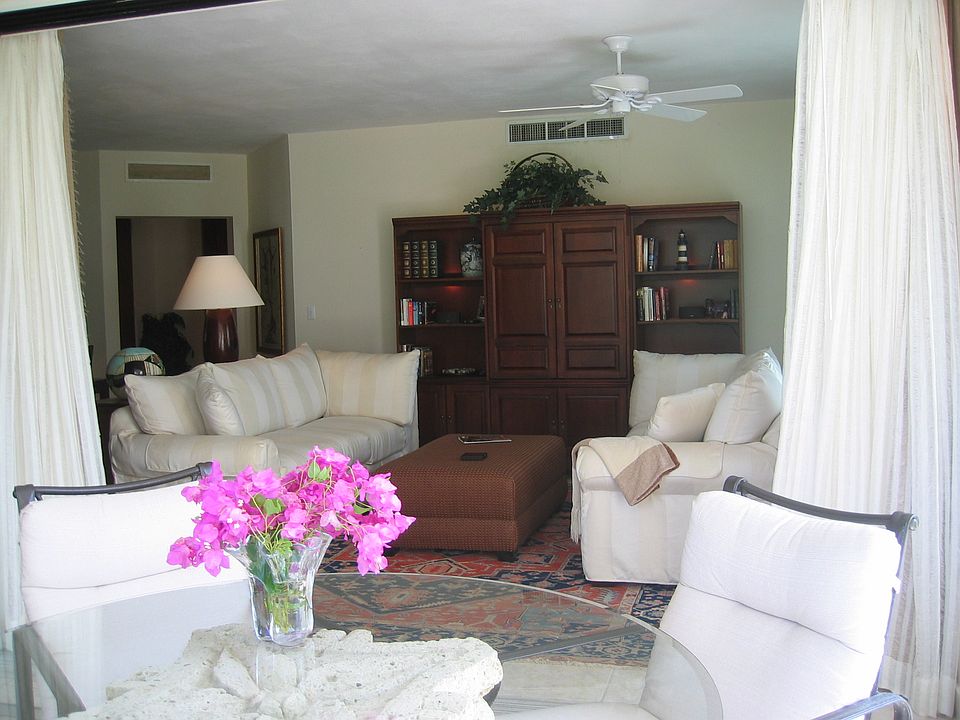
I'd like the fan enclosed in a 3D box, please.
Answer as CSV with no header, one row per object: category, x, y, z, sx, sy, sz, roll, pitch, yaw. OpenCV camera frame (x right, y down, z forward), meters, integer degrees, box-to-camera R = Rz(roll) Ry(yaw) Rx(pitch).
fan,0.912,-1.780,4.496,1.256,0.438,1.309,-5,30,7

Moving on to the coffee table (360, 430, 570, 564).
coffee table,-0.047,0.653,4.328,0.654,0.373,1.024,0,4,16

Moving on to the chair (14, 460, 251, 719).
chair,-0.960,0.540,2.004,0.489,0.673,0.606,-5,0,-35

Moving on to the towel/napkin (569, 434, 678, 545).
towel/napkin,0.801,0.661,3.710,0.512,0.500,0.156,-1,-16,25

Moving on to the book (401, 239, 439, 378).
book,-0.556,-0.506,6.788,0.361,1.287,0.315,0,2,4

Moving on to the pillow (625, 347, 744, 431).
pillow,1.378,0.201,4.884,0.683,0.454,0.240,0,-18,32

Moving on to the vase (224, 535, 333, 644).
vase,-0.450,0.487,1.646,0.238,0.227,0.243,1,-3,-24

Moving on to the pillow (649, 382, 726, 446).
pillow,1.202,0.318,4.094,0.285,0.197,0.097,-13,32,-27

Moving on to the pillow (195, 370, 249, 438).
pillow,-1.618,0.270,4.491,0.112,0.368,0.376,-14,-1,9

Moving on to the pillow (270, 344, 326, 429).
pillow,-1.442,0.241,5.744,0.217,0.456,0.620,-3,8,18

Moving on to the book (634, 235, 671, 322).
book,1.523,-0.698,6.283,0.263,0.742,0.383,1,2,20

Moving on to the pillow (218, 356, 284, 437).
pillow,-1.581,0.278,4.979,0.187,0.391,0.535,-6,4,17

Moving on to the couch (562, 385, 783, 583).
couch,1.126,0.649,4.131,1.102,0.987,1.078,1,0,11

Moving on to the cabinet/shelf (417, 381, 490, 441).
cabinet/shelf,-0.205,0.441,6.392,0.552,0.509,0.191,1,2,10

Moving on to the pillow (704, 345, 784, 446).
pillow,1.511,0.216,4.112,0.243,0.466,0.509,14,14,27

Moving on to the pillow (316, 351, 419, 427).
pillow,-0.944,0.262,6.049,0.639,0.445,0.214,-1,-16,12

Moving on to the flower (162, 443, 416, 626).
flower,-0.412,0.411,1.582,0.503,0.416,0.242,0,1,-23

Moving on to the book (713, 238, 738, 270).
book,2.091,-0.885,6.055,0.197,0.256,0.057,1,2,13
